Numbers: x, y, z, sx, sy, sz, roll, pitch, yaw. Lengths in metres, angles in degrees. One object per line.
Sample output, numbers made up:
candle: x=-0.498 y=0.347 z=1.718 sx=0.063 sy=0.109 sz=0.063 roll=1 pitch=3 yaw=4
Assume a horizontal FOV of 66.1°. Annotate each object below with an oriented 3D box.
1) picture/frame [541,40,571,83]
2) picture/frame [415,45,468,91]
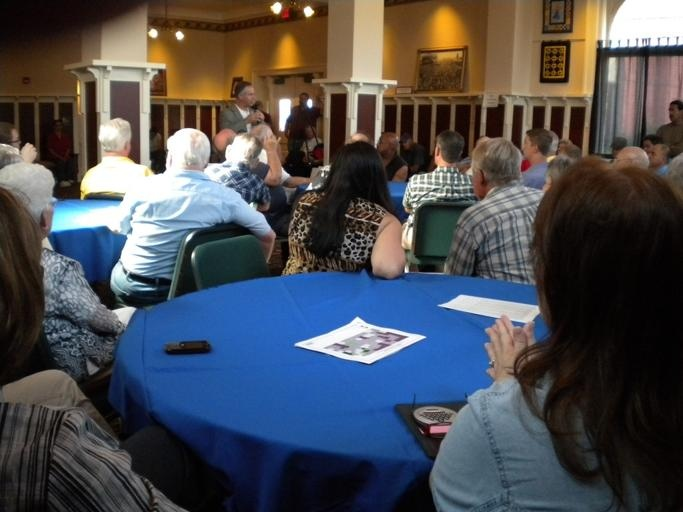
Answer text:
picture/frame: x=3.953 y=-3.598 z=9.648 sx=0.648 sy=0.978 sz=0.070 roll=9 pitch=20 yaw=30
picture/frame: x=2.088 y=-3.862 z=10.793 sx=0.906 sy=0.863 sz=0.091 roll=13 pitch=17 yaw=36
